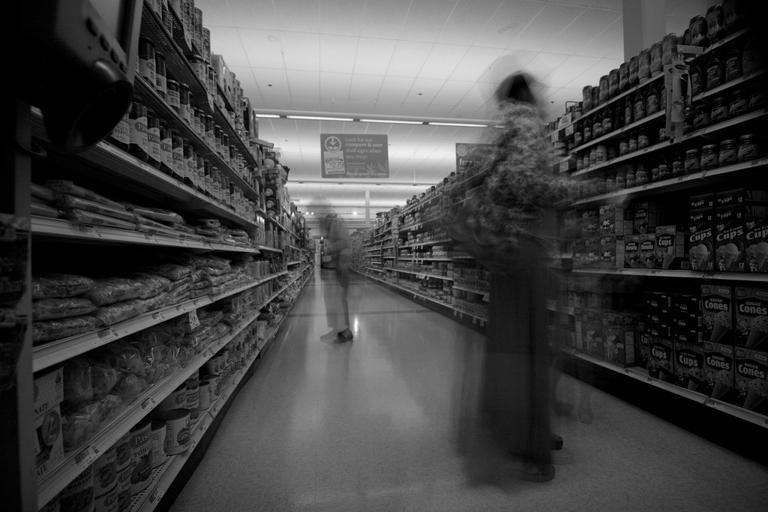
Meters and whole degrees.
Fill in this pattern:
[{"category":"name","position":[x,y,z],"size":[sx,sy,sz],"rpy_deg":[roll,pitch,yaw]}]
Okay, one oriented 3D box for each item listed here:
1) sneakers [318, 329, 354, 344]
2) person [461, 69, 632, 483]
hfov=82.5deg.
[{"category":"sneakers","position":[-0.615,1.028,5.650],"size":[0.433,0.172,0.178],"rpy_deg":[1,-3,2]},{"category":"person","position":[0.636,0.192,2.121],"size":[0.563,2.054,0.293],"rpy_deg":[-2,7,9]}]
